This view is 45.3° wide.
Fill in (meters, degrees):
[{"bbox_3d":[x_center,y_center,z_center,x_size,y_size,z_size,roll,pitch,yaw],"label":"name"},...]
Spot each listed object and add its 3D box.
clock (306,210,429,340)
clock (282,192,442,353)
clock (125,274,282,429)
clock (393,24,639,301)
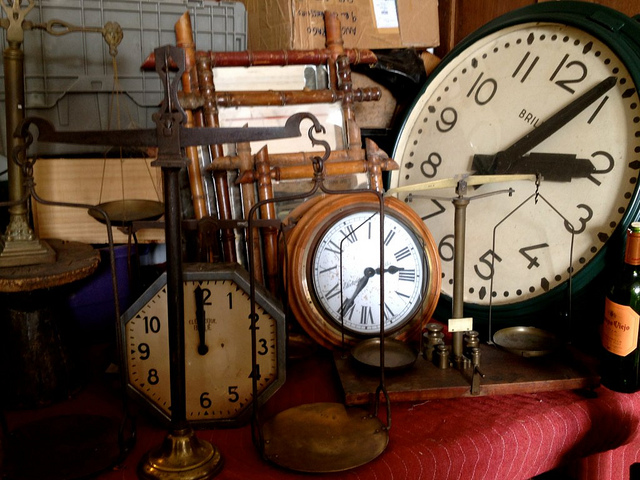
[{"bbox_3d":[0.117,0.085,1.849,0.306,0.310,0.062,-4,8,-16],"label":"clock"},{"bbox_3d":[0.092,0.081,1.978,0.343,0.396,0.266,-1,19,-9],"label":"clock"},{"bbox_3d":[-0.244,0.234,1.592,0.255,0.324,0.080,2,2,-9],"label":"clock"},{"bbox_3d":[0.515,-0.177,1.907,0.072,0.556,0.462,13,23,-45],"label":"clock"}]
